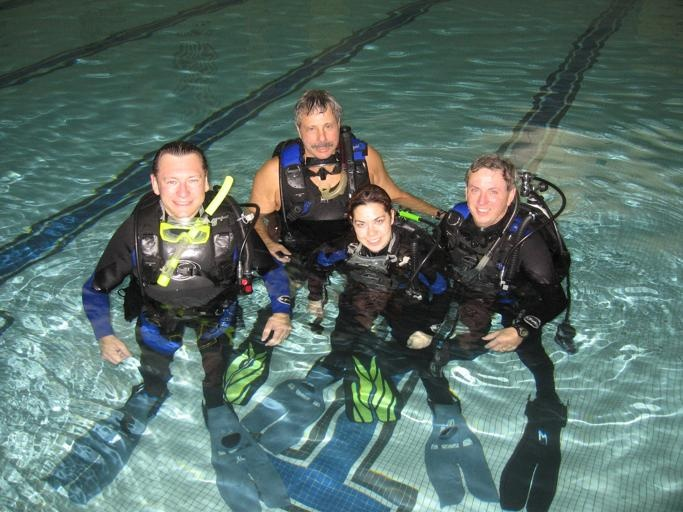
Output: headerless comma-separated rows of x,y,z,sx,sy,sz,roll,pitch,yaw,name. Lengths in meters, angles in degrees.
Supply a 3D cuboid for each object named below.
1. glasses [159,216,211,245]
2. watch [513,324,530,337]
-0.972,-0.151,3.768,0.307,0.153,0.136,-4,41,-8,glasses
1.110,0.459,3.771,0.085,0.041,0.093,1,19,-33,watch
